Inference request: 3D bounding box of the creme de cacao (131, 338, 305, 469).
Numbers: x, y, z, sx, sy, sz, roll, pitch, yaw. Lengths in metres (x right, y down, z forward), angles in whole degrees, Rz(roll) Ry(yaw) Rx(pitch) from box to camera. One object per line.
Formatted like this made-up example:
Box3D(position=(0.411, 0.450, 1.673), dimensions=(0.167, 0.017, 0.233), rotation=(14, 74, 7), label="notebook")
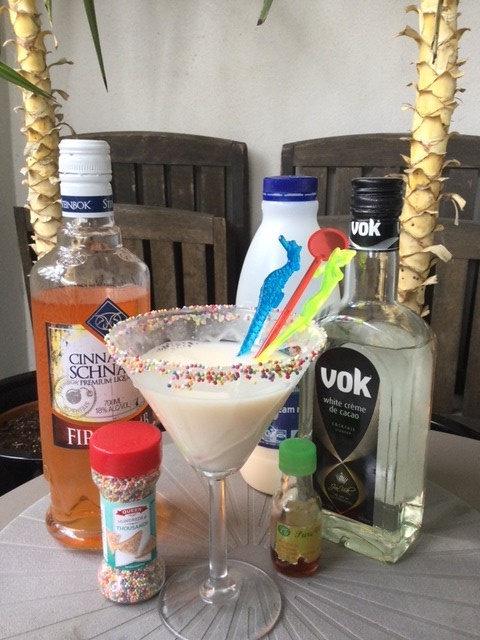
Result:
Box3D(position=(-0.007, 0.090, 0.413), dimensions=(0.106, 0.094, 0.066), rotation=(-7, 58, 21), label="creme de cacao")
